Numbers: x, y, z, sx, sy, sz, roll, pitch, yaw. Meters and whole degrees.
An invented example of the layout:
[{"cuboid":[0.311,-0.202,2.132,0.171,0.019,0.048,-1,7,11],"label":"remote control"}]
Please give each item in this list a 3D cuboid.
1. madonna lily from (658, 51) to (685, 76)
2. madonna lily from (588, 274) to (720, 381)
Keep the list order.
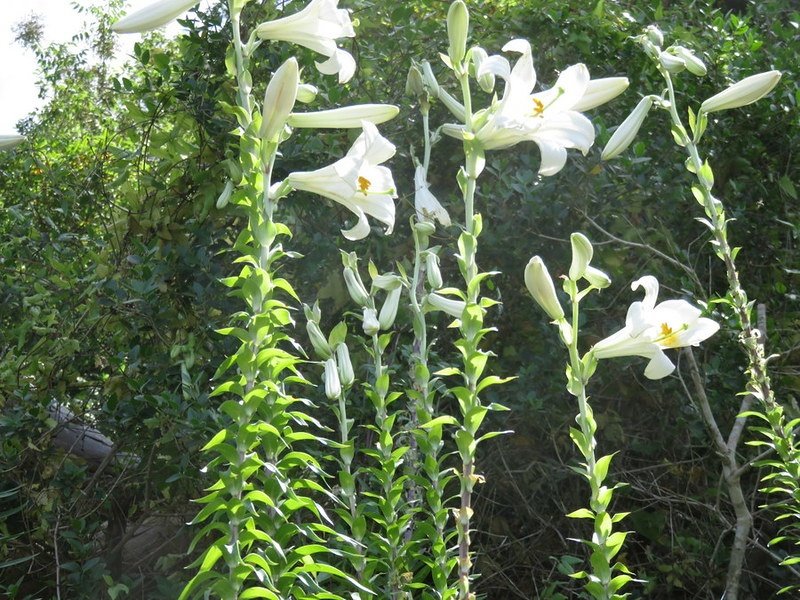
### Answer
[{"cuboid":[1.163,-1.023,4.612,0.096,0.096,0.083,11,-16,-39],"label":"madonna lily"},{"cuboid":[0.998,0.135,4.351,0.486,0.369,0.321,-7,-25,-1],"label":"madonna lily"}]
